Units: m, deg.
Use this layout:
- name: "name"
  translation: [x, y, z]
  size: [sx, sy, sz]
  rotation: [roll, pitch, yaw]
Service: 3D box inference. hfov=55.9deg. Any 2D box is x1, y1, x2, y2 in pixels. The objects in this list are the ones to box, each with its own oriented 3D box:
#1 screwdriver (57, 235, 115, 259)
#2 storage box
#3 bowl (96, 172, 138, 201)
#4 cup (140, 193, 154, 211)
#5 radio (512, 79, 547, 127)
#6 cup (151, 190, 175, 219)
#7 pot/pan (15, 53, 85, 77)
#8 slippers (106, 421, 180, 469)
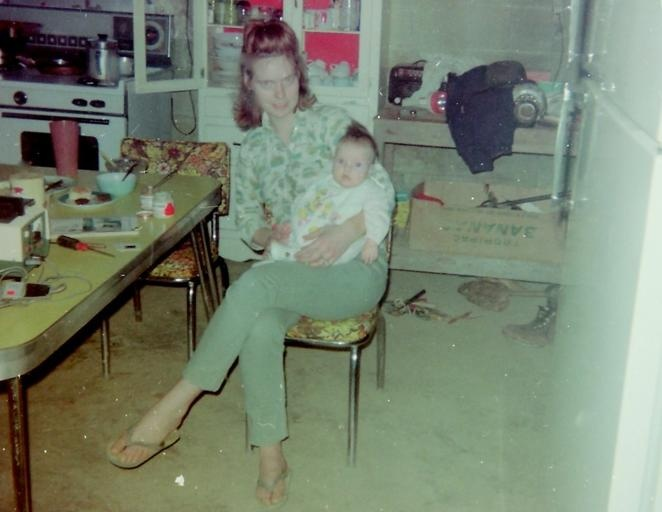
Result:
- name: "screwdriver"
  translation: [-0.617, -0.022, 1.563]
  size: [0.127, 0.023, 0.022]
  rotation: [16, 49, 7]
- name: "storage box"
  translation: [0.736, -0.156, 3.039]
  size: [0.674, 0.236, 0.374]
  rotation: [4, 22, 8]
- name: "bowl"
  translation: [-0.697, -0.237, 2.025]
  size: [0.108, 0.059, 0.104]
  rotation: [0, 11, 0]
- name: "cup"
  translation: [-0.551, -0.164, 1.873]
  size: [0.049, 0.046, 0.047]
  rotation: [0, 1, 0]
- name: "radio"
  translation: [0.960, -0.741, 3.039]
  size: [0.164, 0.217, 0.094]
  rotation: [3, 18, 12]
- name: "cup"
  translation: [-0.489, -0.154, 1.831]
  size: [0.078, 0.079, 0.077]
  rotation: [1, 16, 0]
- name: "pot/pan"
  translation: [-1.826, -1.249, 4.047]
  size: [0.373, 0.148, 0.745]
  rotation: [-8, 18, -23]
- name: "slippers"
  translation: [-0.491, 0.497, 1.648]
  size: [0.179, 0.101, 0.040]
  rotation: [-25, 35, 2]
